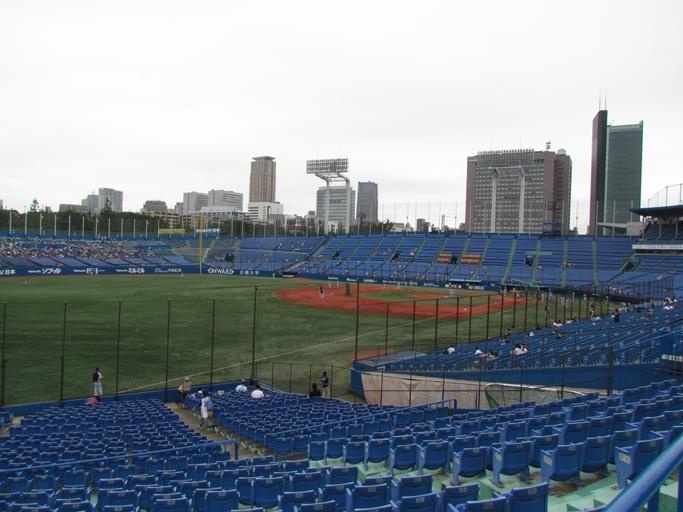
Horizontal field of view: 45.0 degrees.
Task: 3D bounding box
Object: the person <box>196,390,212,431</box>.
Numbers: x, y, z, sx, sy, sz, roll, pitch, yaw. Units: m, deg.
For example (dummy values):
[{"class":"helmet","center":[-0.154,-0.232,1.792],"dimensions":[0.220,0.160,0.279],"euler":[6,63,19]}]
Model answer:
[{"class":"person","center":[-5.901,6.613,35.647],"dimensions":[0.448,1.389,1.165],"euler":[3,2,-7]}]
